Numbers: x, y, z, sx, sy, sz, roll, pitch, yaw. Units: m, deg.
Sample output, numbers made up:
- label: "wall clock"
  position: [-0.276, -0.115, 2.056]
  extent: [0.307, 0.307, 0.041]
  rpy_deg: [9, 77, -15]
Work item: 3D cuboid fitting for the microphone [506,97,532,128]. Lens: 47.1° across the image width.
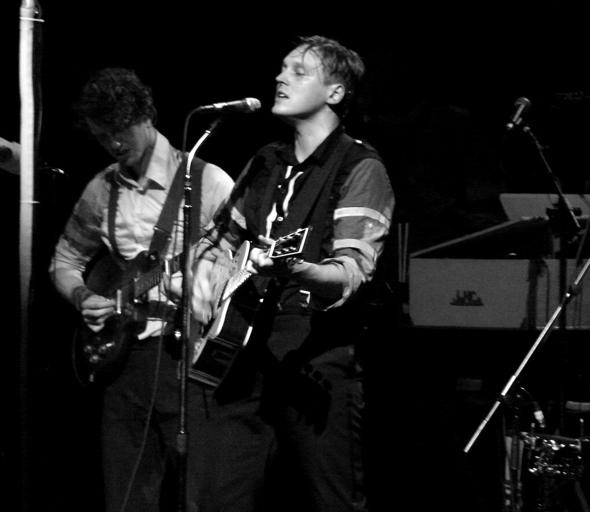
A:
- label: "microphone"
  position: [1.011, -0.642, 3.052]
  extent: [0.078, 0.160, 0.234]
  rpy_deg: [7, 1, 18]
